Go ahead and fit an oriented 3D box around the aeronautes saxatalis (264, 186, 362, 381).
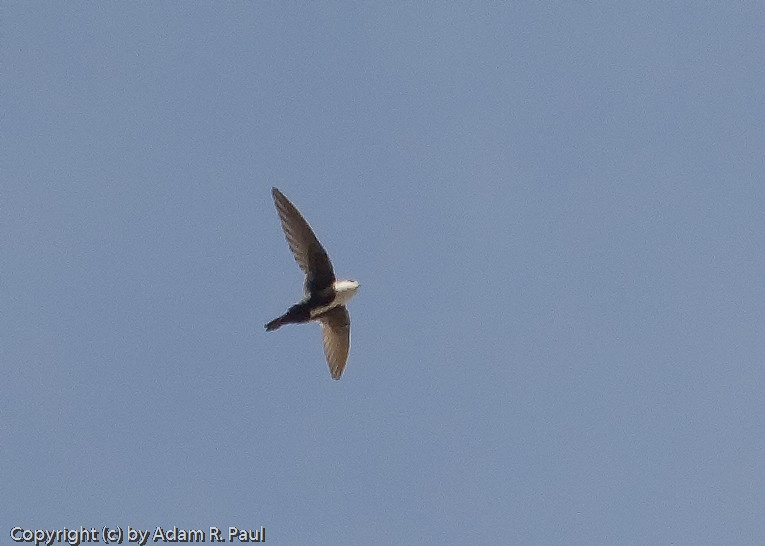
[{"bbox_3d":[-0.456,0.079,8.042,0.746,1.080,0.459,36,60,18],"label":"aeronautes saxatalis"}]
